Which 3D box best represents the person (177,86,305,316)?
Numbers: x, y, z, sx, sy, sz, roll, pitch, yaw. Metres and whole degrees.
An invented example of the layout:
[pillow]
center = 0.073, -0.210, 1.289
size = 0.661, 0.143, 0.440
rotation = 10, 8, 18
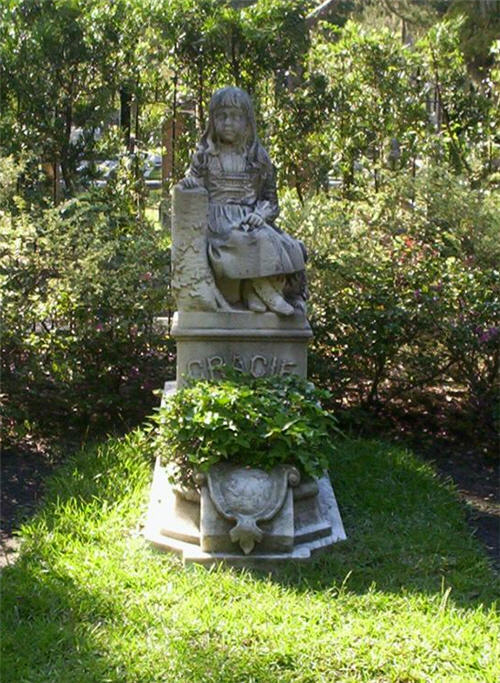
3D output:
[person]
center = -0.016, -0.897, 4.667
size = 0.765, 1.422, 0.546
rotation = 0, 13, -4
